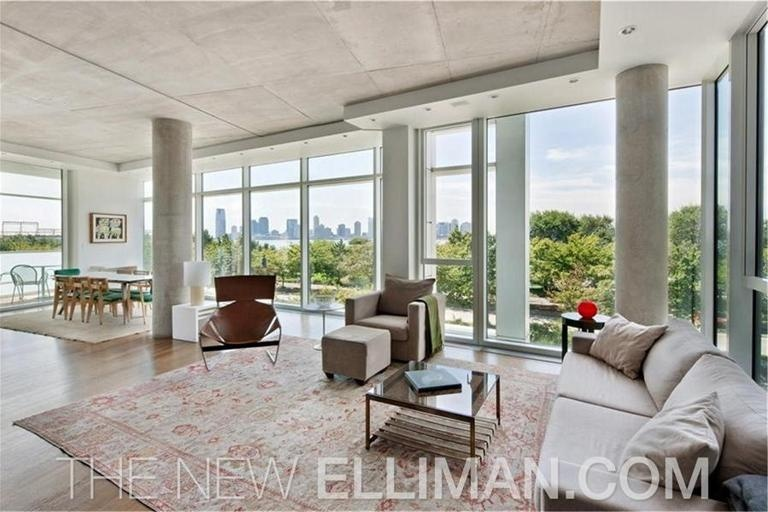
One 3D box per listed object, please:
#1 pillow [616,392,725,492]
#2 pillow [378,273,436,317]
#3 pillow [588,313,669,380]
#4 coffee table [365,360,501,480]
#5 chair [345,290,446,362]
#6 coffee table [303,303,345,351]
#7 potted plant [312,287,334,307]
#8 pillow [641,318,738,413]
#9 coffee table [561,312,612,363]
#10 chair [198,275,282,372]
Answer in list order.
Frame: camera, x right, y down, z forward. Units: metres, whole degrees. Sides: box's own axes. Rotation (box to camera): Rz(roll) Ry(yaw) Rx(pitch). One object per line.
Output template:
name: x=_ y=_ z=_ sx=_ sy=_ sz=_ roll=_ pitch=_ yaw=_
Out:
pillow: x=2.460 y=1.516 z=4.179 sx=0.626 sy=0.370 sz=1.130 roll=-12 pitch=-2 yaw=31
pillow: x=0.334 y=0.569 z=7.217 sx=0.838 sy=0.559 sz=0.321 roll=4 pitch=6 yaw=32
pillow: x=2.545 y=0.916 z=5.355 sx=0.311 sy=0.481 sz=0.665 roll=3 pitch=10 yaw=-21
coffee table: x=0.487 y=1.588 z=5.037 sx=1.007 sy=0.476 sz=0.965 roll=0 pitch=6 yaw=27
chair: x=0.181 y=0.925 z=6.987 sx=1.090 sy=0.743 sz=1.046 roll=-1 pitch=-5 yaw=23
coffee table: x=-0.862 y=0.930 z=7.111 sx=0.432 sy=0.395 sz=0.401 roll=-3 pitch=-10 yaw=-18
potted plant: x=-1.136 y=0.728 z=9.159 sx=0.422 sy=0.257 sz=0.366 roll=-3 pitch=-4 yaw=43
pillow: x=3.070 y=1.149 z=5.003 sx=0.602 sy=0.588 sz=1.743 roll=22 pitch=3 yaw=20
coffee table: x=2.551 y=0.997 z=6.328 sx=0.645 sy=0.644 sz=0.618 roll=5 pitch=14 yaw=32
chair: x=-1.890 y=0.842 z=6.582 sx=0.979 sy=0.991 sz=1.101 roll=-2 pitch=8 yaw=-18
